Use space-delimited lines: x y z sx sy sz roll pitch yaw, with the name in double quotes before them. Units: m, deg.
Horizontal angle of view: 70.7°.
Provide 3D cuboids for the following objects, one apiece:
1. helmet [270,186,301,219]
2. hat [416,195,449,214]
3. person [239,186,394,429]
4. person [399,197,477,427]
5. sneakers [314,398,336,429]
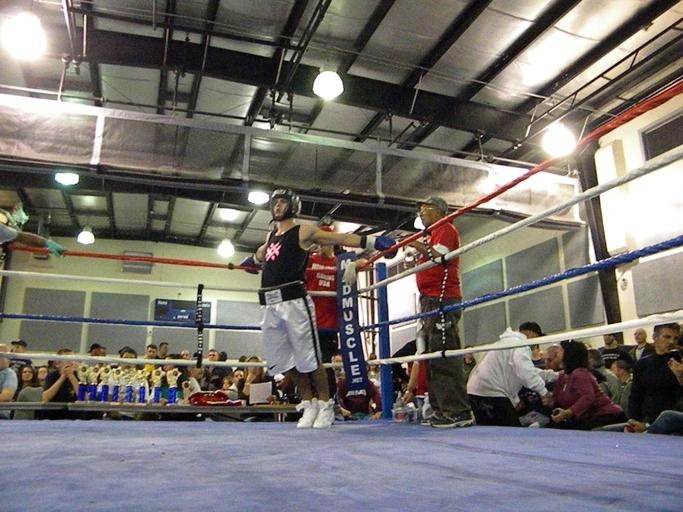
"helmet" -0.453 -0.380 3.459 0.256 0.216 0.237 2 1 14
"hat" 0.673 -0.371 3.432 0.221 0.085 0.135 8 -8 -7
"person" -0.214 0.314 3.300 0.741 1.620 0.743 1 -19 -10
"person" 0.652 0.281 3.150 0.342 1.586 0.723 -6 -19 11
"sneakers" -0.110 0.993 3.035 0.120 0.160 0.213 -3 -16 5
